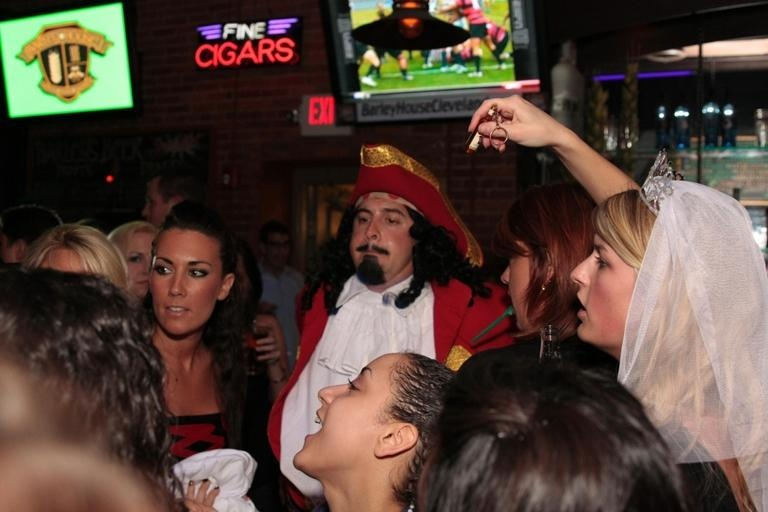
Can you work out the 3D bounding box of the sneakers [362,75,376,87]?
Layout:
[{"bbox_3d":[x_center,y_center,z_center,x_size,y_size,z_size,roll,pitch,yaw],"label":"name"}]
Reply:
[{"bbox_3d":[-0.113,-1.223,5.472,0.137,0.060,0.047,16,36,6],"label":"sneakers"}]
